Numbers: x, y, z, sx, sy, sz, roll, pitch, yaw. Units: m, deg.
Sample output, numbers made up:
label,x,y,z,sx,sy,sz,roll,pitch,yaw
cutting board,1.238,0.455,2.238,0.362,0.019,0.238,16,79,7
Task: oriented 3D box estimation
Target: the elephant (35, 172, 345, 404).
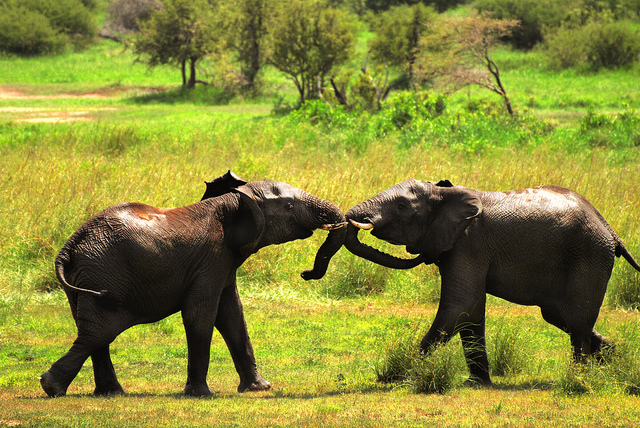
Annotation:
label,x,y,z,sx,sy,sz,roll,pitch,yaw
elephant,-2.959,1.338,24.160,6.540,4.570,3.628,-5,14,-16
